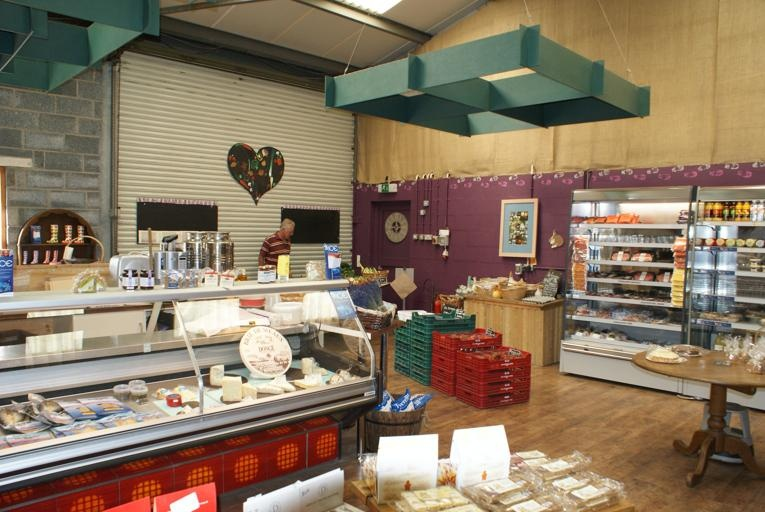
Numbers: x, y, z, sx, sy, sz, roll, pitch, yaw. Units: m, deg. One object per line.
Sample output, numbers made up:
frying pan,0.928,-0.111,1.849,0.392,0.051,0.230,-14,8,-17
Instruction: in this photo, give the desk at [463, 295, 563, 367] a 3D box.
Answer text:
desk,1.991,1.129,8.238,1.409,0.705,0.507,1,1,42

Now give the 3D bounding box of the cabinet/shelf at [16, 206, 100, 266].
cabinet/shelf,-5.138,-0.295,8.691,1.247,0.727,0.398,-1,0,-41

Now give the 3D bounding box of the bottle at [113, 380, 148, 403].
bottle,-2.019,1.084,4.455,0.249,0.064,0.148,0,6,-8

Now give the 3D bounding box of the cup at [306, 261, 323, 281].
cup,-0.632,0.151,5.394,0.207,0.150,0.179,2,-1,-27

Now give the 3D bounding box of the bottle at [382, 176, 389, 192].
bottle,0.052,-1.516,11.709,0.134,0.269,0.226,7,-4,4
